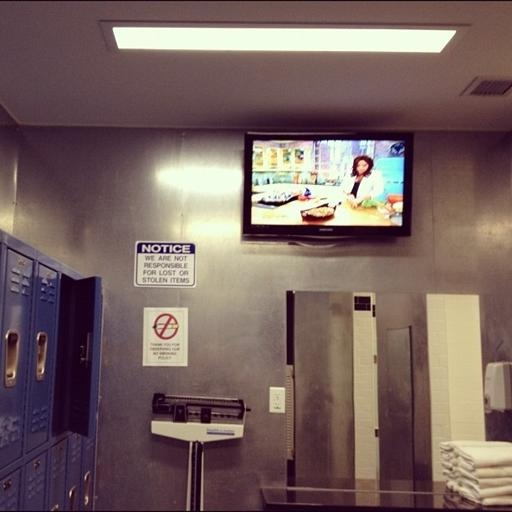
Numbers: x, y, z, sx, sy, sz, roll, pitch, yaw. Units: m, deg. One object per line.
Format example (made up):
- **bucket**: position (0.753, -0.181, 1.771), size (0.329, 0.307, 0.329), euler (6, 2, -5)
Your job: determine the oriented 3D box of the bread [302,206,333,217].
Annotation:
- **bread**: position (0.393, -0.296, 3.327), size (0.131, 0.040, 0.084), euler (-12, 15, -8)
